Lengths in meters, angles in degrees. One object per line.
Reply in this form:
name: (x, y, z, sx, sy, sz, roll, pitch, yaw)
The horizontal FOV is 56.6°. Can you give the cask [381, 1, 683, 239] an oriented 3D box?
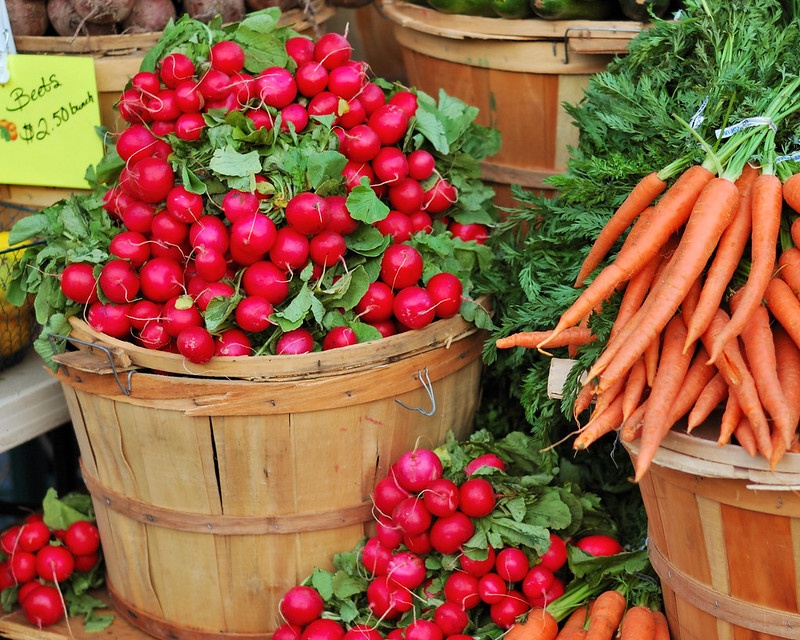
cask: (0.395, -0.699, 2.719, 0.727, 0.595, 0.720, -5, 13, -32)
